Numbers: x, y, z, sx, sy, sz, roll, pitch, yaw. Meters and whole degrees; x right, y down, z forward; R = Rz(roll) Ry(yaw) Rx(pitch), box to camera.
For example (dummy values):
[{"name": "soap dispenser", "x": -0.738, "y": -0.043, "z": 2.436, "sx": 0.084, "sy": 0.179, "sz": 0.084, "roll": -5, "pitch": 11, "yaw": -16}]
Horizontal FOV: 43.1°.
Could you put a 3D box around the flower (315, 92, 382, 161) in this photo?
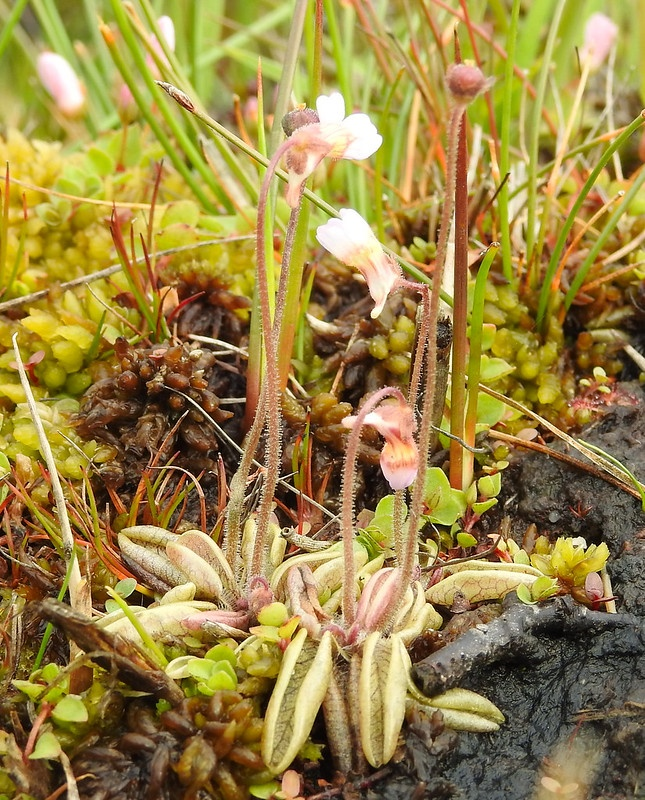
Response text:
[{"name": "flower", "x": 0.060, "y": -0.601, "z": 1.842, "sx": 0.126, "sy": 0.141, "sz": 0.196, "roll": -9, "pitch": 44, "yaw": 2}]

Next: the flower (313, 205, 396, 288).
[{"name": "flower", "x": 0.069, "y": -0.354, "z": 1.887, "sx": 0.189, "sy": 0.271, "sz": 0.098, "roll": 11, "pitch": 83, "yaw": 11}]
